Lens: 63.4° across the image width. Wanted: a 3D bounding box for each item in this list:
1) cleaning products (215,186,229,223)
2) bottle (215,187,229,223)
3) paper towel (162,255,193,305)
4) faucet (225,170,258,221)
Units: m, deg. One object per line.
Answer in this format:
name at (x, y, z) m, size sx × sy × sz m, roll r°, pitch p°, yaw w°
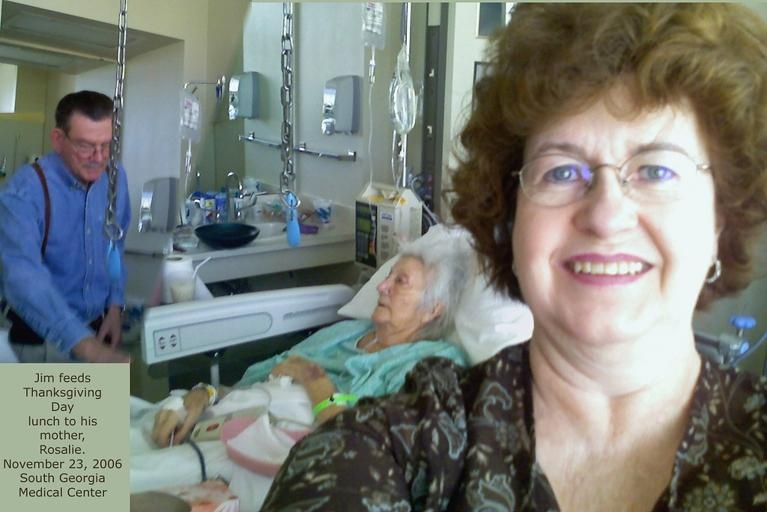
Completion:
cleaning products at (-0.753, -0.223, 2.877) m, size 0.077 × 0.176 × 0.078 m, roll 4°, pitch 17°, yaw -2°
bottle at (-0.737, -0.234, 2.838) m, size 0.069 × 0.151 × 0.051 m, roll -4°, pitch 8°, yaw -34°
paper towel at (-0.658, 0.078, 1.961) m, size 0.119 × 0.130 × 0.117 m, roll -7°, pitch 20°, yaw -25°
faucet at (-0.667, -0.274, 2.890) m, size 0.161 × 0.218 × 0.049 m, roll -5°, pitch 19°, yaw -32°
